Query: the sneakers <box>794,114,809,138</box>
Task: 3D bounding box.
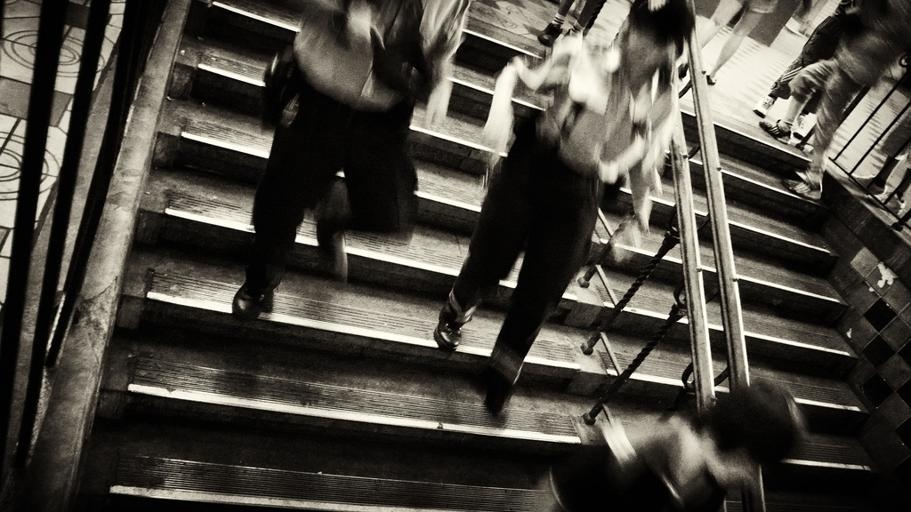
[{"bbox_3d":[4.429,-1.658,12.574,0.175,0.158,0.402,8,5,15],"label":"sneakers"}]
